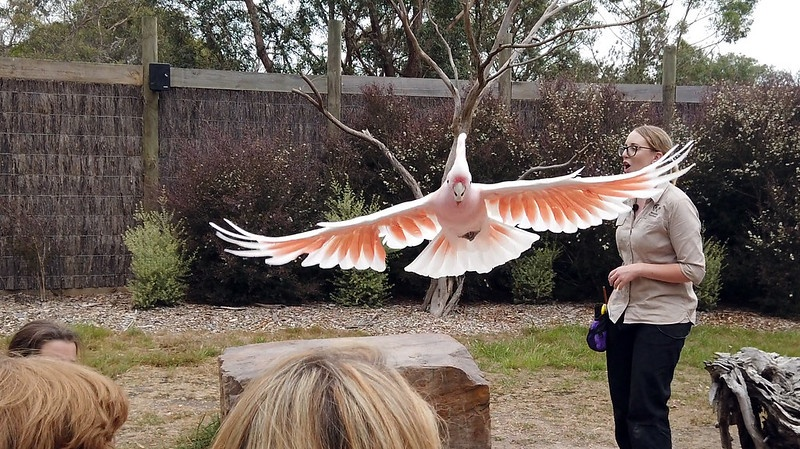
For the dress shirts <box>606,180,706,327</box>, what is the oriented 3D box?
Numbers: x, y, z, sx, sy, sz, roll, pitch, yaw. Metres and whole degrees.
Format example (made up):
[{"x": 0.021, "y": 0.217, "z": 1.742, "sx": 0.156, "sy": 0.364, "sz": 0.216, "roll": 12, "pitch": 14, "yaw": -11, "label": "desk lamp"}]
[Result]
[{"x": 4.118, "y": 0.483, "z": 17.791, "sx": 1.344, "sy": 2.259, "sz": 2.219, "roll": 2, "pitch": -2, "yaw": -16, "label": "dress shirts"}]

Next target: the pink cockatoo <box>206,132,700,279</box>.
[{"x": 0.893, "y": -0.368, "z": 17.606, "sx": 7.427, "sy": 1.975, "sz": 2.720, "roll": -10, "pitch": -11, "yaw": 6, "label": "pink cockatoo"}]

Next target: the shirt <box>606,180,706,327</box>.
[{"x": 4.017, "y": 0.538, "z": 17.270, "sx": 1.085, "sy": 2.526, "sz": 1.122, "roll": 1, "pitch": -1, "yaw": -37, "label": "shirt"}]
